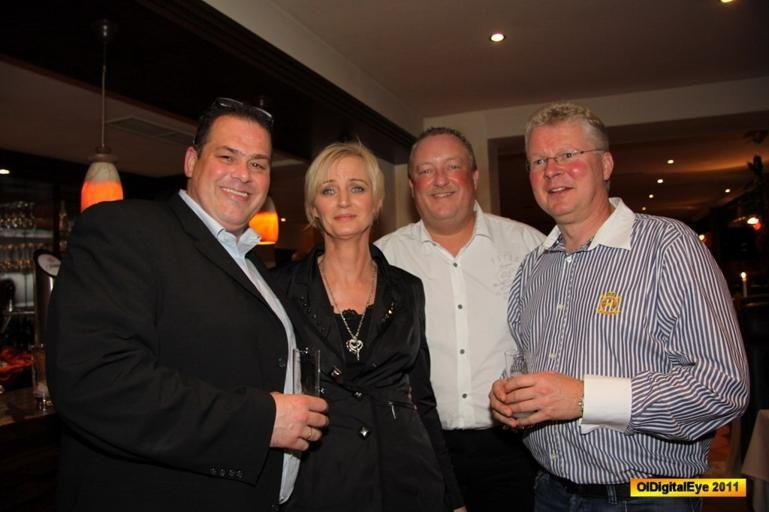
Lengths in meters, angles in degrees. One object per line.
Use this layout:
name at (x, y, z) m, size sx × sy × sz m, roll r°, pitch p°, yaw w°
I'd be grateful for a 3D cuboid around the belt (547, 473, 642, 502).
belt at (0.967, 1.104, 2.817) m, size 0.374 × 0.090 × 0.052 m, roll -1°, pitch -2°, yaw 30°
